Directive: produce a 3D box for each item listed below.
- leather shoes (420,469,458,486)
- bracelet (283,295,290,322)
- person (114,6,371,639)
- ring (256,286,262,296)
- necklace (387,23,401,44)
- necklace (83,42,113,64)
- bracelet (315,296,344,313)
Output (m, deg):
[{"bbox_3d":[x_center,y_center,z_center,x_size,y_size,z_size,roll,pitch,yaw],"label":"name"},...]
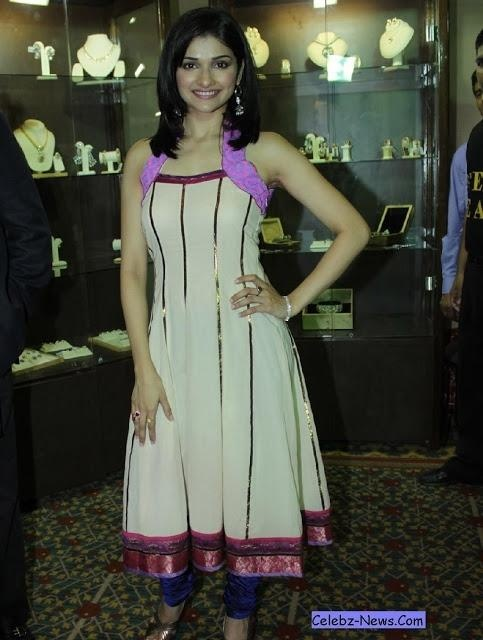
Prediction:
[{"bbox_3d":[0.843,0.665,2.223,0.129,0.051,0.070,3,5,4],"label":"leather shoes"},{"bbox_3d":[0.103,-0.025,1.160,0.011,0.040,0.041,-2,-1,-8],"label":"bracelet"},{"bbox_3d":[-0.020,-0.021,1.149,0.557,1.239,0.235,-1,7,12],"label":"person"},{"bbox_3d":[0.035,-0.061,1.102,0.006,0.019,0.008,-1,-24,12],"label":"ring"},{"bbox_3d":[0.683,-1.279,2.332,0.038,0.079,0.068,-35,34,-33],"label":"necklace"},{"bbox_3d":[-0.636,-1.184,2.297,0.092,0.086,0.088,1,-33,-2],"label":"necklace"},{"bbox_3d":[0.439,-0.068,2.621,0.113,0.065,0.056,0,-2,-5],"label":"bracelet"}]
